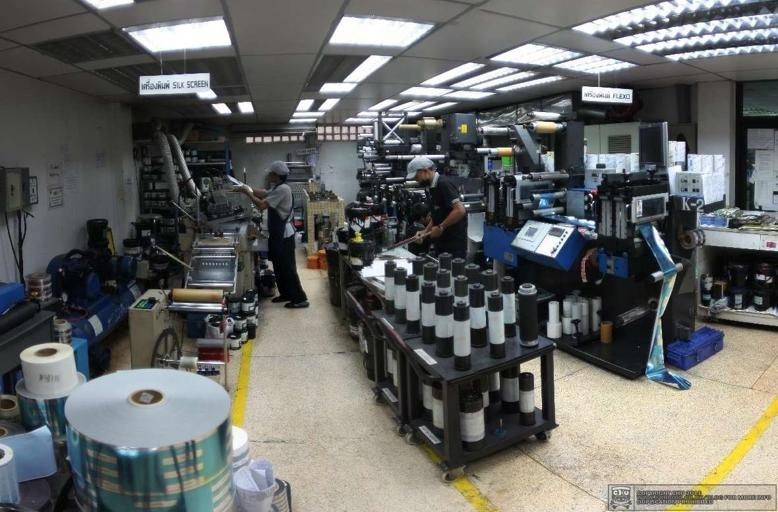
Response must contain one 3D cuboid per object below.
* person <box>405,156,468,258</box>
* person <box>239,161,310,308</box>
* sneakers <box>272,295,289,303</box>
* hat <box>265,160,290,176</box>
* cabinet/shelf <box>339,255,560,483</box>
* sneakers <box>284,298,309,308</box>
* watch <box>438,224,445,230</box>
[{"bbox_3d":[0.632,-0.612,7.091,0.745,1.296,1.061,0,11,5],"label":"person"},{"bbox_3d":[-1.497,-0.265,7.594,0.709,2.015,0.468,-3,11,-9],"label":"person"},{"bbox_3d":[-1.559,0.609,8.001,0.257,0.104,0.100,4,5,2],"label":"sneakers"},{"bbox_3d":[-1.514,-1.199,7.639,0.224,0.200,0.428,-2,11,-6],"label":"hat"},{"bbox_3d":[0.686,0.714,5.245,1.659,1.645,2.493,-9,15,-23],"label":"cabinet/shelf"},{"bbox_3d":[-1.284,0.659,7.823,0.342,0.150,0.122,2,1,-6],"label":"sneakers"},{"bbox_3d":[0.639,-0.354,6.673,0.066,0.043,0.059,7,4,-36],"label":"watch"}]
